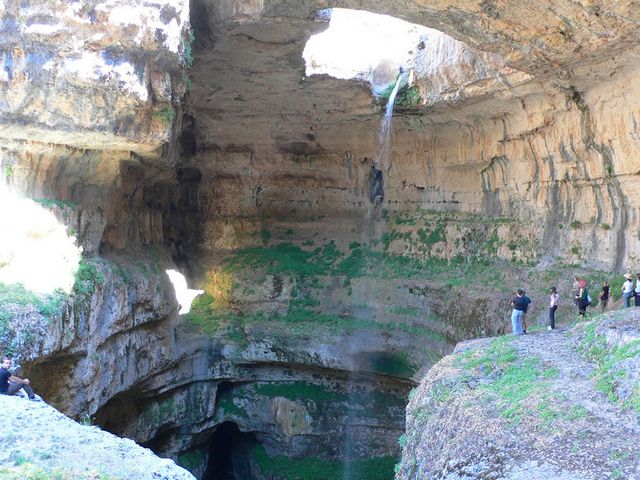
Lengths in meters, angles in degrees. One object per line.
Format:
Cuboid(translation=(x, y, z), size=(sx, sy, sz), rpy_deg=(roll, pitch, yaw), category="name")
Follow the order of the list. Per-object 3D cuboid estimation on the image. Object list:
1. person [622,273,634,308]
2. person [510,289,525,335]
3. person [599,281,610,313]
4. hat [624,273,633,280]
Cuboid(translation=(8.687, 1.467, 25.876), size=(0.266, 0.961, 1.131), rpy_deg=(0, -5, 18), category="person")
Cuboid(translation=(5.475, 2.018, 25.302), size=(0.304, 1.223, 0.954), rpy_deg=(0, -5, 13), category="person")
Cuboid(translation=(8.304, 1.672, 26.720), size=(0.265, 0.847, 0.858), rpy_deg=(0, -5, 17), category="person")
Cuboid(translation=(8.633, 1.047, 25.573), size=(0.104, 0.223, 0.255), rpy_deg=(-5, -5, -9), category="hat")
